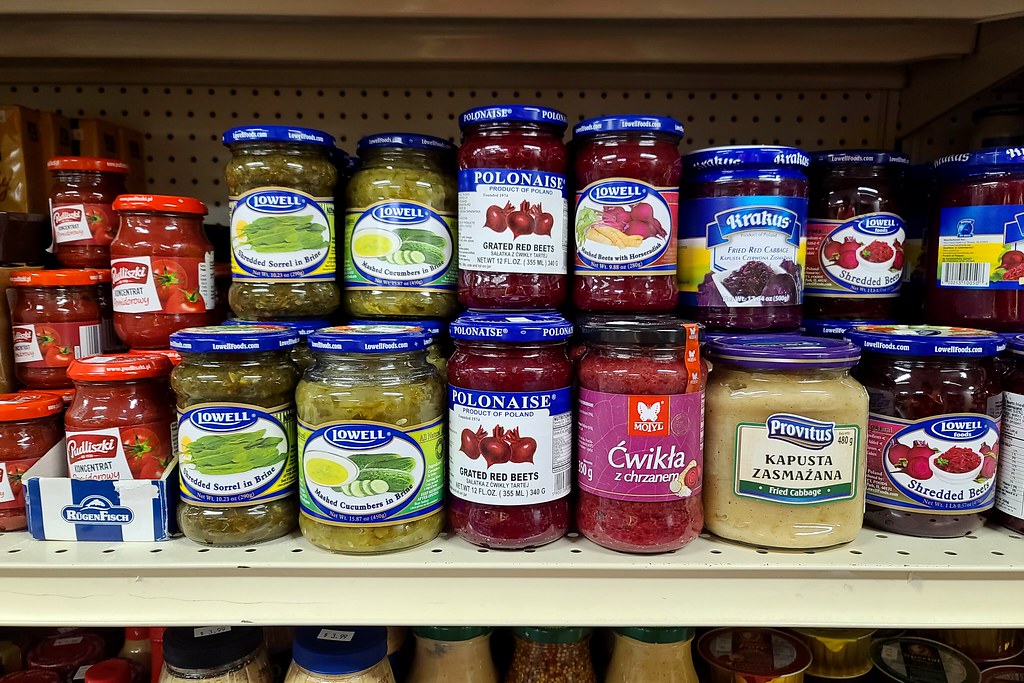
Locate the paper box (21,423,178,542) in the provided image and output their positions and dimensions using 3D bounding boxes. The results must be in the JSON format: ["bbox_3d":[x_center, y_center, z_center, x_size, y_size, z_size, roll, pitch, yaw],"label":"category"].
[{"bbox_3d":[-0.848,0.293,1.657,0.224,0.096,0.217,2,8,-6],"label":"paper box"}]
